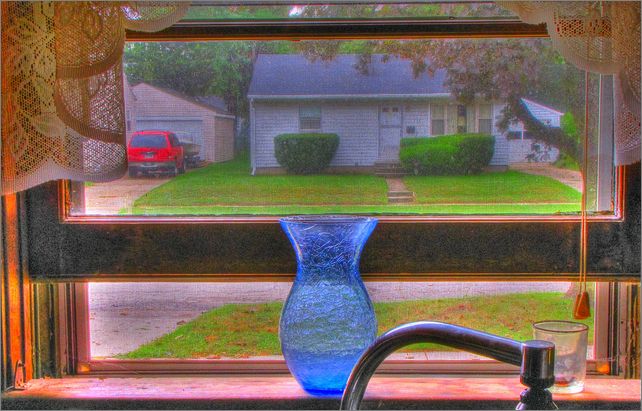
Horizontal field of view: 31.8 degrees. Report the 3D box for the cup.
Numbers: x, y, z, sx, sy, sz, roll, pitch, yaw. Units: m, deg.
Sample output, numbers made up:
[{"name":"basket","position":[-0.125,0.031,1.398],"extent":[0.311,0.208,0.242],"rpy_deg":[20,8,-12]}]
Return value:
[{"name":"cup","position":[0.772,0.471,3.511],"extent":[0.215,0.240,0.215],"rpy_deg":[1,-5,0]}]
